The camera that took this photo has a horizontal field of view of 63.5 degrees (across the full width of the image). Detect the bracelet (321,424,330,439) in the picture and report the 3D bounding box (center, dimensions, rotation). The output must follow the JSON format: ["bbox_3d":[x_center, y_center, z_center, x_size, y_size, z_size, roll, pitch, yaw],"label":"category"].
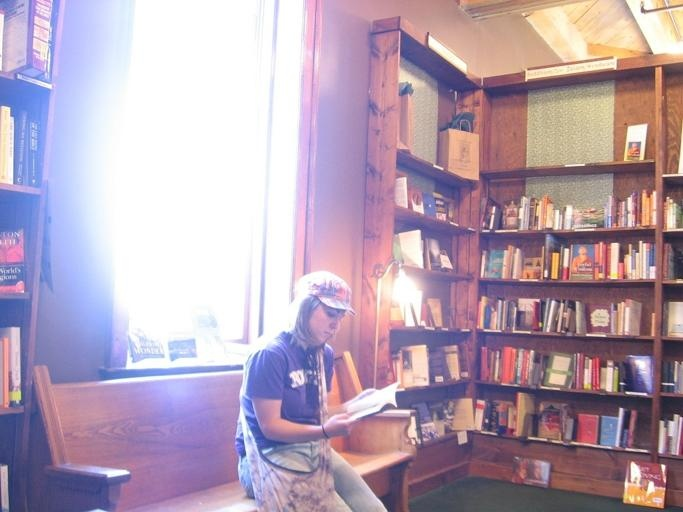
[{"bbox_3d":[-0.062,0.778,2.452,0.012,0.054,0.051,-11,-11,-13],"label":"bracelet"}]

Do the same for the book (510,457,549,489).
[{"bbox_3d":[1.720,1.962,4.990,0.205,0.169,0.039,4,-27,20],"label":"book"}]

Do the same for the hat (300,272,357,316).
[{"bbox_3d":[-0.073,0.168,2.672,0.231,0.135,0.181,20,-6,20],"label":"hat"}]
